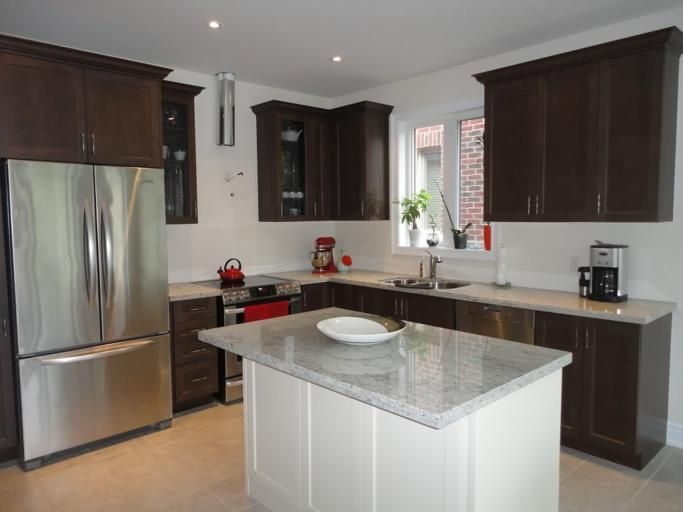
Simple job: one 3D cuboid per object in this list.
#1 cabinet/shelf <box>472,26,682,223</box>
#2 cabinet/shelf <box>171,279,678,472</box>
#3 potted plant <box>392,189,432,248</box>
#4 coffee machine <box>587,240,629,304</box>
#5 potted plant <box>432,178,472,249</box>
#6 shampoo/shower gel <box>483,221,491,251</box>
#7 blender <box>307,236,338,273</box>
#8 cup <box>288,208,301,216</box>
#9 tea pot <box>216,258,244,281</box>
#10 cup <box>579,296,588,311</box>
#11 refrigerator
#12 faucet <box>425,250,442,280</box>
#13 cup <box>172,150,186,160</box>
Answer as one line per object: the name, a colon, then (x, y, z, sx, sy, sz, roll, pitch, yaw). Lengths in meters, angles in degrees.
cabinet/shelf: (1.934, -1.051, 4.155, 1.537, 1.341, 0.457, 1, 0, 44)
cabinet/shelf: (0.523, 0.790, 4.817, 4.396, 1.151, 1.612, 3, 13, 16)
potted plant: (0.781, -0.424, 5.752, 0.285, 0.621, 0.352, -6, 13, -22)
coffee machine: (2.122, 0.127, 4.170, 0.248, 0.435, 0.240, 2, 8, 45)
potted plant: (1.148, -0.437, 5.429, 0.181, 0.665, 0.526, -8, 14, -31)
shampoo/shower gel: (1.427, -0.188, 5.098, 0.065, 0.260, 0.154, 1, 12, 11)
blender: (-0.208, -0.017, 6.004, 0.330, 0.385, 0.268, -7, 13, -26)
cup: (-0.531, -0.483, 5.786, 0.064, 0.070, 0.099, -6, 13, -35)
tea pot: (-1.155, 0.130, 5.384, 0.292, 0.267, 0.213, -3, 8, -18)
cup: (1.885, 0.374, 4.057, 0.072, 0.111, 0.067, -2, 9, 0)
refrigerator: (-1.956, 0.357, 4.102, 1.137, 2.220, 0.512, -6, 13, -21)
faucet: (0.958, 0.093, 5.396, 0.145, 0.267, 0.270, 1, 12, 9)
cup: (-1.570, -0.970, 5.018, 0.091, 0.068, 0.093, -1, 1, 0)
